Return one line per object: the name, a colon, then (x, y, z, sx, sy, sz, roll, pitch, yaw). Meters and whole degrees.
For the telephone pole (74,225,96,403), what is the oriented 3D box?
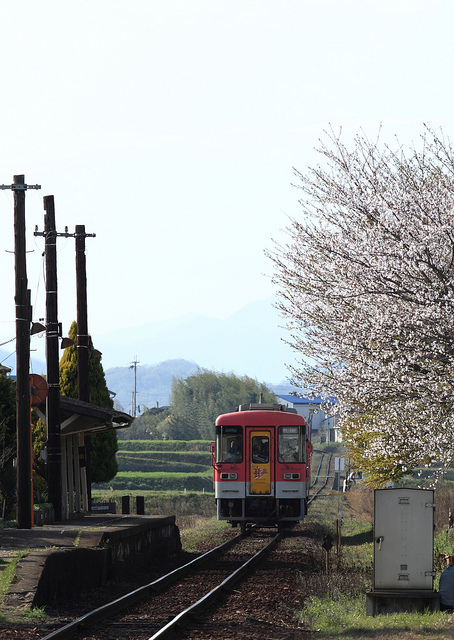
telephone pole: (-4.139, -0.175, 27.728, 0.407, 5.034, 0.839, -1, -3, -10)

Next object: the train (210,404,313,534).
train: (0.801, 3.526, 23.088, 2.208, 2.643, 0.725, -2, -3, -8)

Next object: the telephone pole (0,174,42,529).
telephone pole: (-4.491, 0.610, 21.199, 0.436, 7.711, 1.168, -1, -3, -13)
